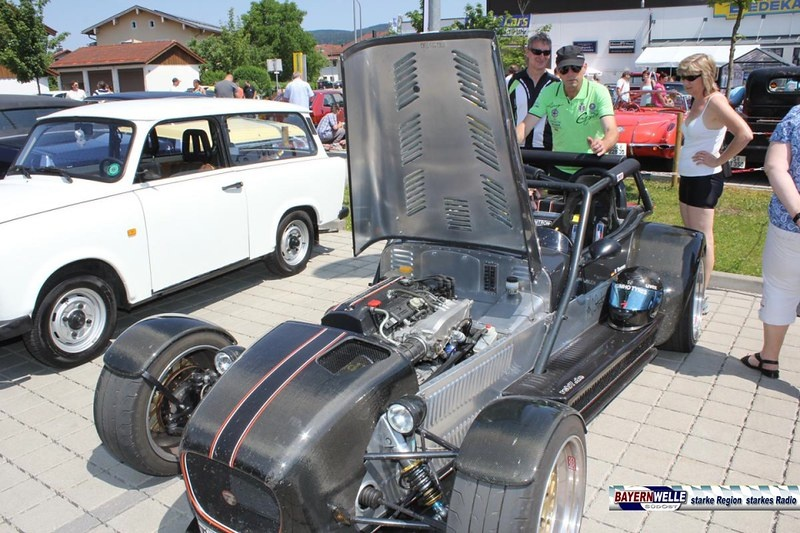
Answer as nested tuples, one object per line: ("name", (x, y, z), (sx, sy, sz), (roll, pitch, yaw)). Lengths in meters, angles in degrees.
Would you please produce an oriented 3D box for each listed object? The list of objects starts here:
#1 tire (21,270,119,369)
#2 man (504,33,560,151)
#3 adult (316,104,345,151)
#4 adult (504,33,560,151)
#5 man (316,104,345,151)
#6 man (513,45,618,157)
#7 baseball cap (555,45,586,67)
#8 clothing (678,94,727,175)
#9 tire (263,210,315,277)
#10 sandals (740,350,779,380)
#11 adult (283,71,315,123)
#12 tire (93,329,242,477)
("tire", (-3.383, 0.533, 5.489), (0.303, 1.114, 0.934), (7, 2, 34))
("man", (1.740, -2.217, 7.158), (0.718, 1.636, 0.424), (4, -16, 21))
("adult", (-2.102, -4.387, 16.895), (0.885, 1.299, 0.656), (-8, 36, -25))
("adult", (1.787, -2.330, 7.320), (0.792, 1.719, 0.454), (8, 44, 17))
("man", (-2.089, -4.405, 16.872), (0.887, 1.329, 0.635), (-8, 38, -23))
("man", (1.892, -1.708, 6.045), (0.965, 1.342, 0.919), (13, 44, 31))
("baseball cap", (1.833, -2.264, 5.807), (0.215, 0.179, 0.301), (2, 22, 25))
("clothing", (3.472, -1.454, 6.178), (0.425, 0.354, 0.749), (17, 46, 39))
("tire", (-1.619, -0.371, 7.881), (0.281, 0.943, 0.905), (10, 12, 25))
("sandals", (3.557, 0.950, 5.409), (0.134, 0.154, 0.373), (-10, 24, -27))
("adult", (-3.522, -5.758, 18.777), (0.914, 2.160, 0.606), (1, 45, -8))
("tire", (-1.880, 0.880, 4.141), (0.368, 0.959, 0.941), (21, 25, 10))
